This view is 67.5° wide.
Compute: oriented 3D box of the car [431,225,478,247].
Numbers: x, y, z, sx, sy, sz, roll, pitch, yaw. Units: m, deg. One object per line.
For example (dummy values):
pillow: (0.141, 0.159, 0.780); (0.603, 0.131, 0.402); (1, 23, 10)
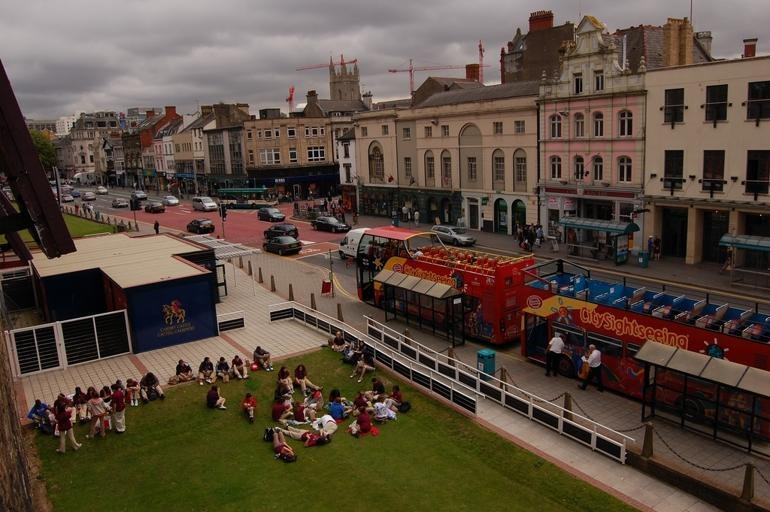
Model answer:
car: (6.486, -1.674, 54.441); (1.960, 1.470, 4.115); (-12, 17, -40)

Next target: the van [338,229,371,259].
van: (-2.829, -1.048, 50.460); (2.052, 2.162, 3.380); (-8, 17, -34)

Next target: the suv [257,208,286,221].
suv: (-14.579, -5.265, 74.110); (1.780, 1.376, 3.266); (-6, 5, -38)

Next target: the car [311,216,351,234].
car: (-6.114, -3.532, 64.880); (1.044, 1.604, 5.772); (-13, 16, -41)

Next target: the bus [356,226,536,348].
bus: (3.288, 1.215, 36.537); (4.468, 5.199, 12.563); (-10, 14, -41)

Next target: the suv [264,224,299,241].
suv: (-10.727, -2.630, 60.670); (3.193, 1.437, 1.867); (14, 17, 38)

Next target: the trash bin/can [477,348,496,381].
trash bin/can: (4.929, 5.311, 28.122); (0.766, 1.473, 1.522); (-2, 12, 4)

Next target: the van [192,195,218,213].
van: (-26.283, -7.686, 85.249); (2.403, 1.972, 4.232); (-11, 15, -38)

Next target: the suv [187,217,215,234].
suv: (-21.210, -3.470, 66.809); (2.909, 1.260, 1.747); (16, 18, 41)

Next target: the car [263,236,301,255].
car: (-9.661, -1.020, 55.068); (3.499, 1.583, 1.508); (7, 15, 38)

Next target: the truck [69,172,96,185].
truck: (-84.648, -21.806, 162.438); (5.867, 2.874, 5.985); (5, 8, 37)
